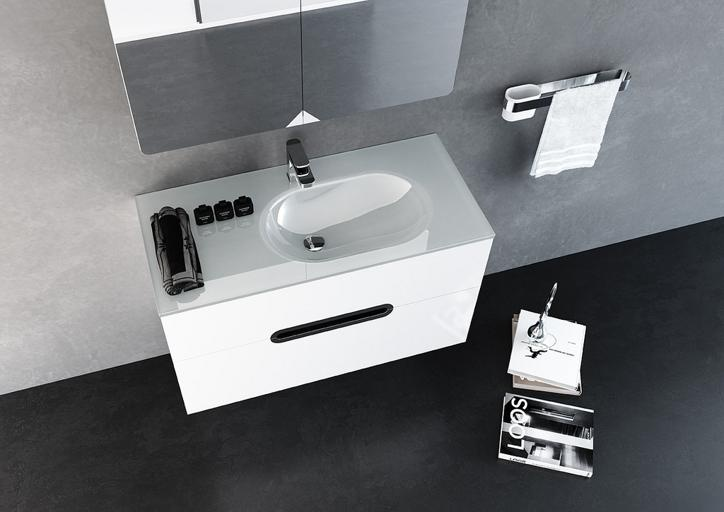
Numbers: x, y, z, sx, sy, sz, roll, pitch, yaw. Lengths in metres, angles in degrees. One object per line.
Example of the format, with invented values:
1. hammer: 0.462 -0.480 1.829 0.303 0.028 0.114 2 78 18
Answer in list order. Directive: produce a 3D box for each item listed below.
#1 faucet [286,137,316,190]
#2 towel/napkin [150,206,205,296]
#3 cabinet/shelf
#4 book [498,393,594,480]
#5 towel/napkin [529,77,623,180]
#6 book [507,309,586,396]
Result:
1. faucet: -0.260 -0.382 2.417 0.172 0.161 0.056 15 23 42
2. towel/napkin: -0.704 -0.019 2.242 0.174 0.102 0.362 -10 66 -11
3. cabinet/shelf: -0.210 0.032 2.632 1.329 0.902 0.662 -15 50 -9
4. book: 0.878 0.842 2.813 0.412 0.217 0.281 3 26 15
5. towel/napkin: 0.990 -0.621 2.772 0.465 0.529 0.045 -12 47 -13
6. book: 0.945 0.474 3.016 0.347 0.373 0.325 5 27 18
